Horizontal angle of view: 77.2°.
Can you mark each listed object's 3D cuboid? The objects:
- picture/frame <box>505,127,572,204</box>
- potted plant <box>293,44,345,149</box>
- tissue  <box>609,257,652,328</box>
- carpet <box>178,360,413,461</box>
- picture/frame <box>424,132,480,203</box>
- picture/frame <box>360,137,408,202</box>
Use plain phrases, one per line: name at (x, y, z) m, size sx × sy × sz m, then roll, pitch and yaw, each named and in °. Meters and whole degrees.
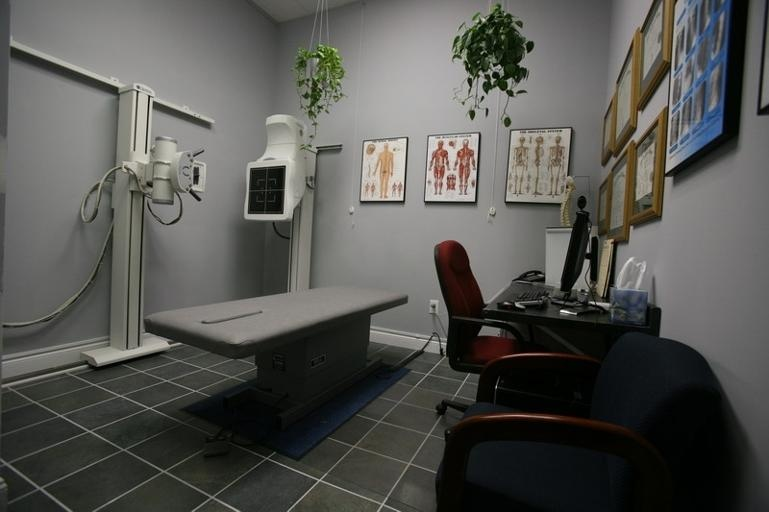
picture/frame at (1.404, -0.816, 4.328) m, size 0.672 × 0.851 × 0.061 m, roll 3°, pitch -1°, yaw 22°
potted plant at (-0.608, -1.641, 4.660) m, size 0.504 × 1.155 × 1.322 m, roll 1°, pitch 7°, yaw -10°
tissue  at (1.387, 0.183, 2.716) m, size 0.189 × 0.333 × 0.291 m, roll 6°, pitch 8°, yaw 30°
carpet at (-0.698, 1.035, 3.522) m, size 1.062 × 0.192 × 1.023 m, roll 6°, pitch 8°, yaw 27°
picture/frame at (0.672, -0.860, 4.643) m, size 0.634 × 0.812 × 0.058 m, roll 3°, pitch 3°, yaw 26°
picture/frame at (0.010, -0.891, 4.929) m, size 0.623 × 0.797 × 0.029 m, roll 3°, pitch 4°, yaw 31°
